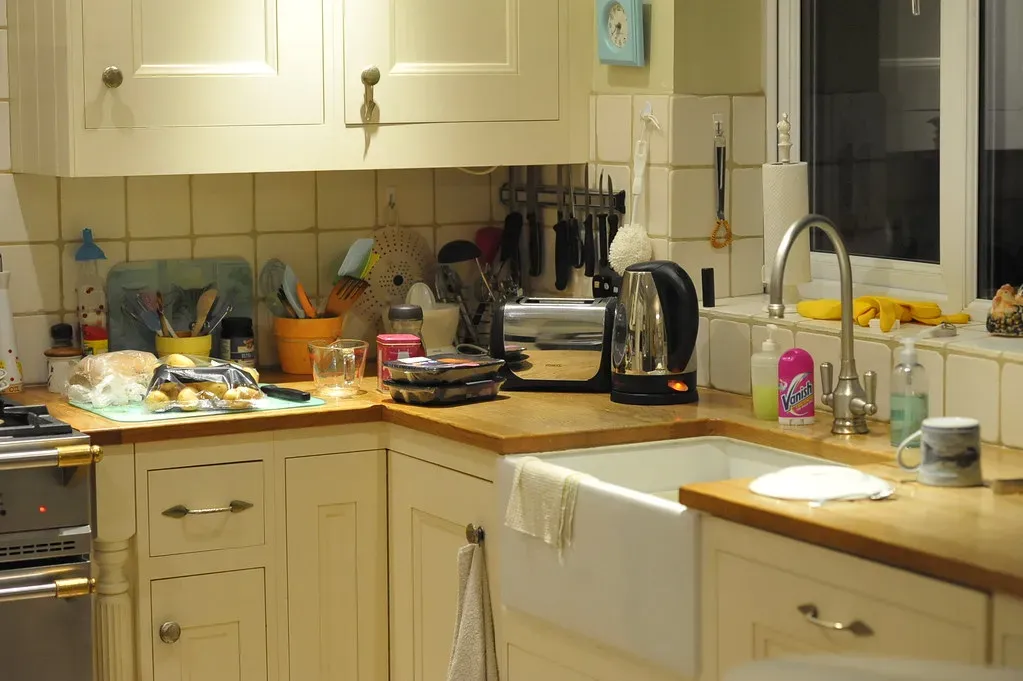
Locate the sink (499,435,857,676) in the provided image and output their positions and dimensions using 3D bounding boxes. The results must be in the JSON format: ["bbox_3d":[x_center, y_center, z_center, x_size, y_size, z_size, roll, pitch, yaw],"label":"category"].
[{"bbox_3d":[0.380,0.400,2.014,0.515,0.297,0.543,-3,8,-39],"label":"sink"}]

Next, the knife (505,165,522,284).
[{"bbox_3d":[0.004,-0.429,3.166,0.062,0.445,0.074,-1,9,12],"label":"knife"}]

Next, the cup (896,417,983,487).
[{"bbox_3d":[0.869,0.224,1.714,0.100,0.115,0.151,-1,2,-34],"label":"cup"}]

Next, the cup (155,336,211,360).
[{"bbox_3d":[-1.067,0.010,2.699,0.116,0.090,0.111,-1,4,0],"label":"cup"}]

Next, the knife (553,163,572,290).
[{"bbox_3d":[0.176,-0.396,2.981,0.060,0.441,0.097,-2,9,3],"label":"knife"}]

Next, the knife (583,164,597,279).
[{"bbox_3d":[0.262,-0.405,2.908,0.040,0.373,0.082,-5,9,-13],"label":"knife"}]

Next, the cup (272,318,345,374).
[{"bbox_3d":[-0.696,0.006,2.858,0.185,0.160,0.203,-1,4,-17],"label":"cup"}]

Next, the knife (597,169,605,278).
[{"bbox_3d":[0.306,-0.399,2.843,0.028,0.337,0.063,-2,9,4],"label":"knife"}]

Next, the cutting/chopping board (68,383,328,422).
[{"bbox_3d":[-0.917,0.191,2.364,0.751,0.042,0.259,-4,10,-5],"label":"cutting/chopping board"}]

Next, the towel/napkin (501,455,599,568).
[{"bbox_3d":[0.086,0.400,1.984,0.205,0.215,0.076,20,11,34],"label":"towel/napkin"}]

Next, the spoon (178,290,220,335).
[{"bbox_3d":[-1.044,-0.094,2.786,0.130,0.147,0.152,3,11,32],"label":"spoon"}]

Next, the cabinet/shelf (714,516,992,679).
[{"bbox_3d":[0.621,0.456,1.538,0.274,0.404,0.407,1,1,-38],"label":"cabinet/shelf"}]

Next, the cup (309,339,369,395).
[{"bbox_3d":[-0.529,0.080,2.529,0.167,0.120,0.144,2,5,19],"label":"cup"}]

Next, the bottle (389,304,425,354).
[{"bbox_3d":[-0.356,-0.034,2.696,0.102,0.165,0.105,0,4,0],"label":"bottle"}]

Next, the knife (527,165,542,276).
[{"bbox_3d":[0.083,-0.443,3.119,0.055,0.403,0.082,-3,9,2],"label":"knife"}]
